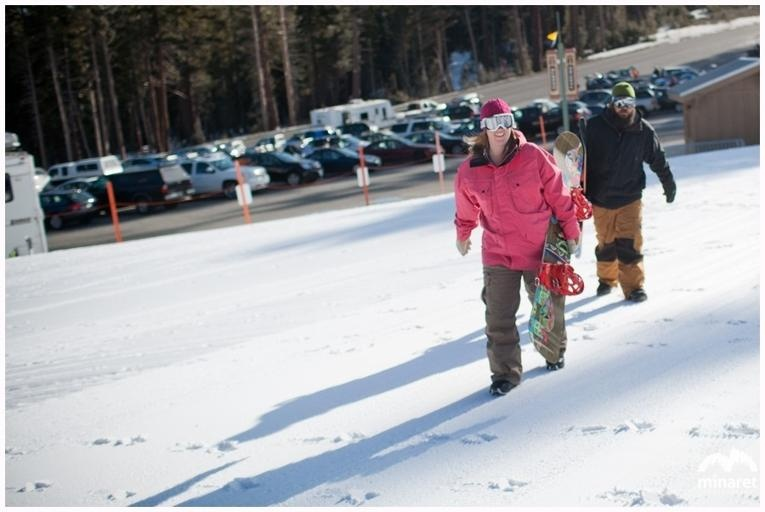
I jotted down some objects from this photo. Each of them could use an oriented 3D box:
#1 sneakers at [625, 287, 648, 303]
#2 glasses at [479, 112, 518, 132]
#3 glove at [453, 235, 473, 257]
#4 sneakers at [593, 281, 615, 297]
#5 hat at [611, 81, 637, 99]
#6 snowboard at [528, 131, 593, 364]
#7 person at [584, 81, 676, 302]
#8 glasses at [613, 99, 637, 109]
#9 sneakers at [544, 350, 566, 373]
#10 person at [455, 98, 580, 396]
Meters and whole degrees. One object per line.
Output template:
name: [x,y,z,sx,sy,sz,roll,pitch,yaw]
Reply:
sneakers: [2.739,0.422,7.829,0.232,0.138,0.161,-9,10,14]
glasses: [1.043,-1.202,6.538,0.315,0.158,0.228,-11,10,1]
glove: [0.780,-0.085,6.968,0.165,0.124,0.209,-3,-28,-5]
sneakers: [2.498,0.373,8.146,0.138,0.215,0.223,-11,-20,14]
hat: [2.587,-1.779,7.818,0.229,0.181,0.298,-9,10,15]
snowboard: [1.654,-0.069,6.728,0.379,1.832,0.272,6,-5,22]
person: [2.643,-0.722,8.006,0.867,2.314,0.645,-20,12,-35]
glasses: [2.607,-1.627,7.743,0.242,0.116,0.128,-14,10,-18]
sneakers: [1.648,0.993,6.857,0.149,0.179,0.201,0,39,42]
person: [1.230,-0.133,6.613,1.076,2.594,0.688,-12,10,3]
